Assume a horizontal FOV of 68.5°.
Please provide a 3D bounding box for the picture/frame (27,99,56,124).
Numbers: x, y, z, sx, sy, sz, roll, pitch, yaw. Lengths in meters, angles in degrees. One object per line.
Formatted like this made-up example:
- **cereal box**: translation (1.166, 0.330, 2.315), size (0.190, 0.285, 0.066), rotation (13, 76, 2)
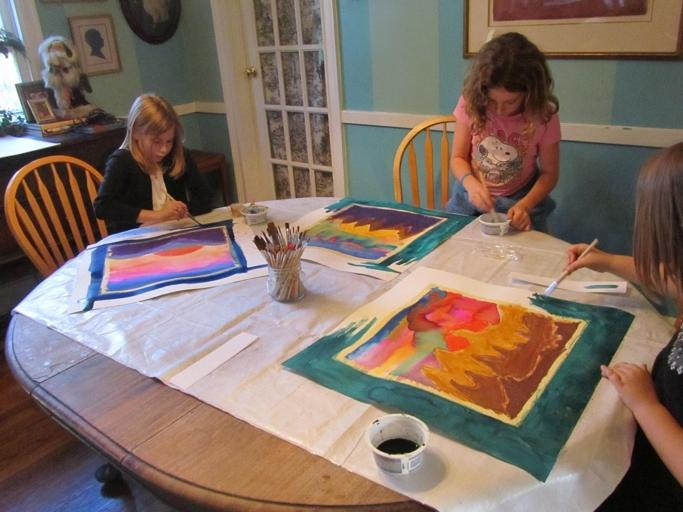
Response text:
- **picture/frame**: translation (-1.695, -0.814, 2.818), size (0.013, 0.130, 0.114), rotation (2, 36, 33)

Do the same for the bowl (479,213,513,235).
- **bowl**: translation (0.515, -0.115, 1.695), size (0.085, 0.062, 0.093), rotation (-3, 19, 1)

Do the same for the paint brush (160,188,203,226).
- **paint brush**: translation (-0.654, -0.199, 2.044), size (0.031, 0.236, 0.025), rotation (-47, 4, -39)

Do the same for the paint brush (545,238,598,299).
- **paint brush**: translation (0.647, 0.041, 1.412), size (0.224, 0.025, 0.028), rotation (-41, 28, -19)

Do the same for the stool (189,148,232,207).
- **stool**: translation (-0.908, -0.583, 3.739), size (0.291, 0.380, 0.304), rotation (-4, 0, 12)

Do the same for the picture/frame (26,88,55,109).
- **picture/frame**: translation (-1.698, -0.886, 2.814), size (0.011, 0.111, 0.111), rotation (-21, 5, 35)

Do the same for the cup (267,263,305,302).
- **cup**: translation (-0.152, 0.077, 1.371), size (0.099, 0.096, 0.099), rotation (-4, 17, 1)

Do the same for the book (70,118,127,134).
- **book**: translation (-1.363, -0.734, 2.859), size (0.148, 0.038, 0.153), rotation (-3, 7, 3)

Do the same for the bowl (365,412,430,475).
- **bowl**: translation (0.104, 0.355, 0.933), size (0.108, 0.052, 0.113), rotation (-4, 20, 1)
